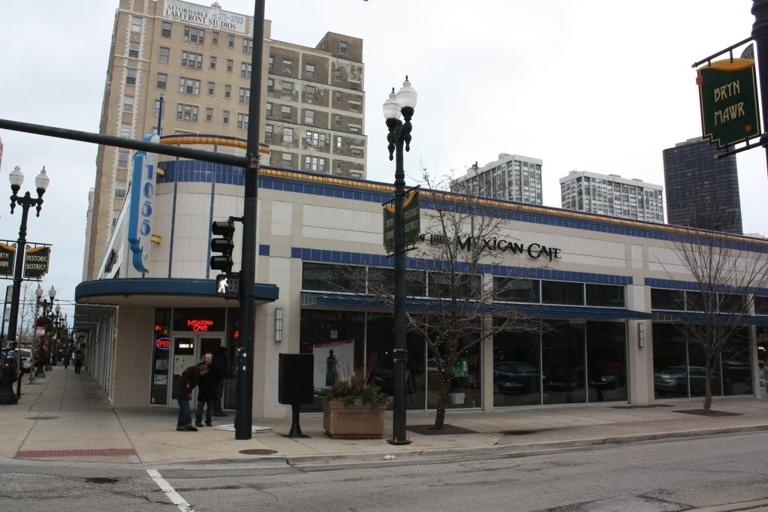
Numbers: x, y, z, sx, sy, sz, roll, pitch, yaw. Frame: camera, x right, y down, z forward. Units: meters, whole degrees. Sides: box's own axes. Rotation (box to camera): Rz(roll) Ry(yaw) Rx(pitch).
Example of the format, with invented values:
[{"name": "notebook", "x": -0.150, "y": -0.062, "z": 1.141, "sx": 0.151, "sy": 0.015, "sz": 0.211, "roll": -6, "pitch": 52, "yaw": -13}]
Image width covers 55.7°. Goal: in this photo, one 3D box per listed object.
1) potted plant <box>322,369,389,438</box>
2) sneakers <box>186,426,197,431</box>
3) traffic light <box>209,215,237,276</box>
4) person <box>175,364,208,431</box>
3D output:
[{"name": "potted plant", "x": -1.041, "y": 4.885, "z": 23.508, "sx": 1.862, "sy": 1.574, "sz": 1.839, "roll": 2, "pitch": -12, "yaw": -9}, {"name": "sneakers", "x": -6.098, "y": 5.482, "z": 23.053, "sx": 0.350, "sy": 0.142, "sz": 0.125, "roll": 0, "pitch": -5, "yaw": 8}, {"name": "traffic light", "x": -4.896, "y": -0.367, "z": 22.050, "sx": 0.664, "sy": 1.807, "sz": 1.018, "roll": 2, "pitch": -10, "yaw": -13}, {"name": "person", "x": -6.291, "y": 4.541, "z": 23.461, "sx": 0.776, "sy": 2.129, "sz": 0.913, "roll": 2, "pitch": -10, "yaw": -15}]
